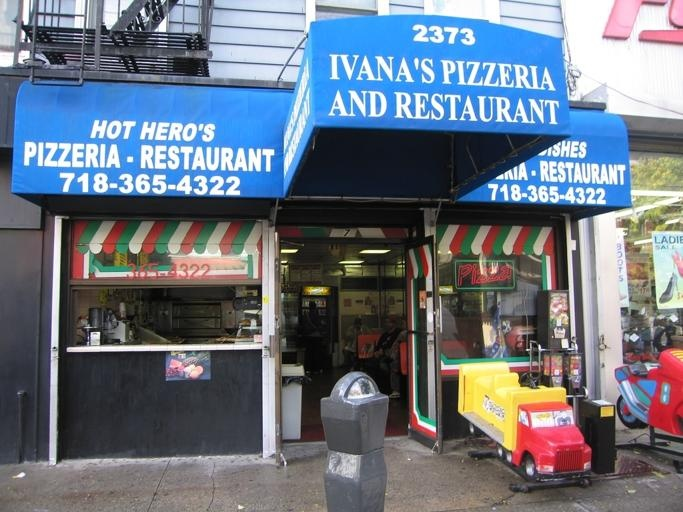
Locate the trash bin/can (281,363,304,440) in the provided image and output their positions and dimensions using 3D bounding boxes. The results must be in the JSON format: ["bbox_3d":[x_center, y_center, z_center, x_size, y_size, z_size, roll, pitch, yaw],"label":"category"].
[{"bbox_3d":[-0.736,2.206,9.650,0.340,1.099,0.342,-1,-6,-6],"label":"trash bin/can"}]

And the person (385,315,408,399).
[{"bbox_3d":[1.037,1.965,12.099,0.499,1.469,1.498,1,-7,-1],"label":"person"}]

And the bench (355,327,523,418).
[{"bbox_3d":[1.448,2.374,12.618,1.694,1.149,1.779,1,-4,-9],"label":"bench"}]

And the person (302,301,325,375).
[{"bbox_3d":[-0.736,2.039,16.747,0.511,1.766,0.877,-1,-6,-2],"label":"person"}]

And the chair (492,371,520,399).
[{"bbox_3d":[2.181,1.721,8.507,0.351,0.270,0.604,-3,-7,13],"label":"chair"}]
